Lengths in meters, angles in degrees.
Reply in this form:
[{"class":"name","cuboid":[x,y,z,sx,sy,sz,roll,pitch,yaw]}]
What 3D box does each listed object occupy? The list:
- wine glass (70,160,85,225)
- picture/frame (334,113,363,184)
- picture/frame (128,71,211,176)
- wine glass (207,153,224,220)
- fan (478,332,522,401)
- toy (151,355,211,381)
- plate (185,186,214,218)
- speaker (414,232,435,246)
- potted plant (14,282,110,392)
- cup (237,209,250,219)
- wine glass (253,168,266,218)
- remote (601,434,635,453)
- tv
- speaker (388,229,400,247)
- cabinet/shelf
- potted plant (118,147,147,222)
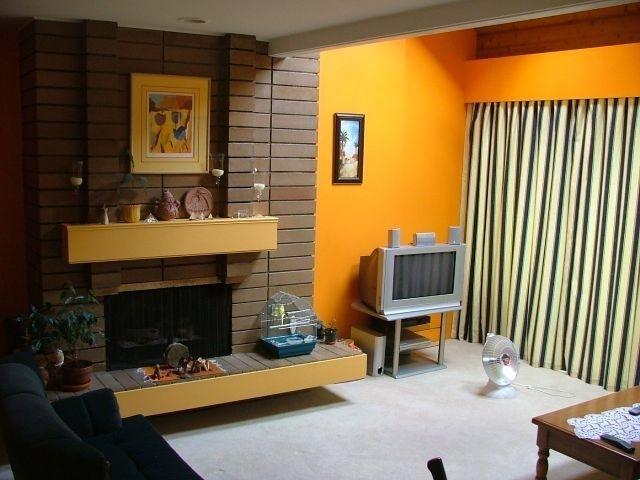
[{"class":"wine glass","cuboid":[-2.003,-0.402,4.064,0.111,0.517,0.193,-3,11,-24]},{"class":"picture/frame","cuboid":[0.318,-1.037,5.586,0.395,0.784,0.096,-4,11,-31]},{"class":"picture/frame","cuboid":[-1.362,-1.061,4.352,0.927,1.118,0.074,-6,12,-31]},{"class":"wine glass","cuboid":[-0.970,-0.566,4.633,0.127,0.479,0.125,6,8,-6]},{"class":"fan","cuboid":[1.902,1.299,5.155,0.408,0.638,0.391,-1,-3,9]},{"class":"toy","cuboid":[-1.229,1.150,4.301,0.349,0.079,0.213,-1,6,-26]},{"class":"plate","cuboid":[-1.120,-0.347,4.562,0.267,0.265,0.062,-18,15,-40]},{"class":"speaker","cuboid":[1.175,-0.014,5.561,0.243,0.154,0.139,-3,12,-20]},{"class":"potted plant","cuboid":[-2.012,0.831,4.000,0.506,0.568,0.422,-22,1,0]},{"class":"cup","cuboid":[-0.721,-0.252,4.686,0.142,0.067,0.071,-7,13,-43]},{"class":"wine glass","cuboid":[-0.604,-0.461,4.872,0.155,0.456,0.153,3,7,17]},{"class":"remote","cuboid":[2.008,1.370,3.308,0.074,0.033,0.142,-4,9,-29]},{"class":"tv","cuboid":[1.061,0.434,5.797,1.121,0.757,0.628,-2,7,-26]},{"class":"speaker","cuboid":[0.815,-0.017,5.363,0.125,0.196,0.065,2,10,2]},{"class":"cabinet/shelf","cuboid":[0.930,0.951,5.748,1.026,0.742,0.860,-4,6,-32]},{"class":"potted plant","cuboid":[-1.602,-0.461,4.265,0.300,0.569,0.227,-3,3,5]}]
